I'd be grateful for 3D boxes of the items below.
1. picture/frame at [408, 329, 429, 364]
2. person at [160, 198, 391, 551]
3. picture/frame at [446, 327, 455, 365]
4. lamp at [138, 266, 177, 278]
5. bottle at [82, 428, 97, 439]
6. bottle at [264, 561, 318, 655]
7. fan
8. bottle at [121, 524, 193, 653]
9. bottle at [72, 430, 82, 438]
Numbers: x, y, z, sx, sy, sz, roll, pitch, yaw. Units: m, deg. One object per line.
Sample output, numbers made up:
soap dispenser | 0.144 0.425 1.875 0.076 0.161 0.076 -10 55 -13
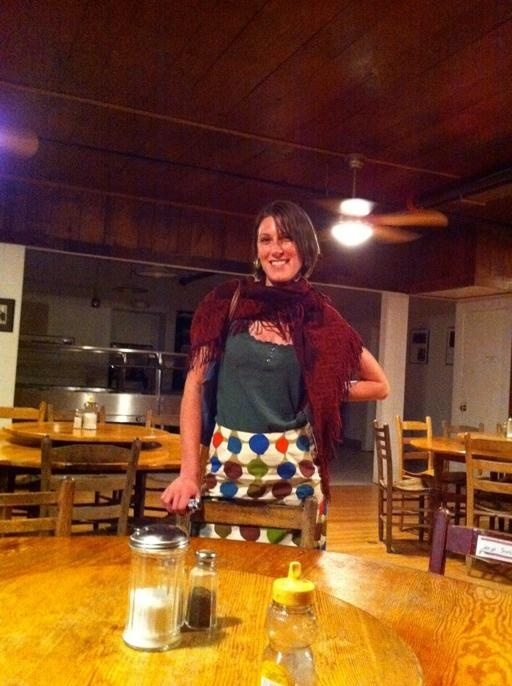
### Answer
picture/frame | 3.140 0.064 9.638 0.102 0.900 0.694 2 -3 -17
person | 0.071 0.058 1.259 0.543 0.868 0.360 5 -5 -9
picture/frame | 3.436 0.073 8.897 0.063 0.665 0.219 4 -5 -1
lamp | -1.575 -1.140 7.978 0.612 0.154 0.628 3 1 12
bottle | -1.019 0.565 3.064 0.081 0.019 0.084 4 3 0
bottle | 0.032 0.224 0.435 0.042 0.071 0.050 4 -5 6
fan | 1.059 -1.149 4.724 0.981 0.401 0.885 5 -11 -10
bottle | -0.119 0.287 0.614 0.074 0.125 0.147 5 -5 -10
bottle | -1.095 0.559 3.070 0.042 0.069 0.076 0 -2 1
